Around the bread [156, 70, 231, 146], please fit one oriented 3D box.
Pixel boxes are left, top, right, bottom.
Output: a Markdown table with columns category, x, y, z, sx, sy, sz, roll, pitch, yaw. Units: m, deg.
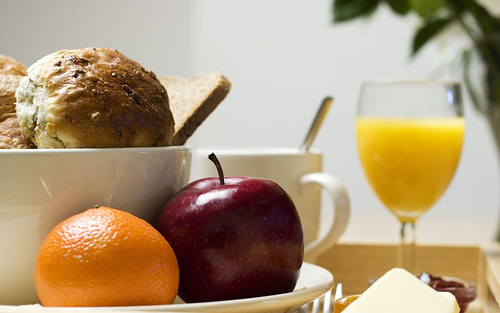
| category | x | y | z | sx | sy | sz | roll | pitch | yaw |
| --- | --- | --- | --- | --- | --- | --- | --- | --- | --- |
| bread | -0.082 | -0.087 | 0.739 | 0.132 | 0.036 | 0.125 | -22 | 36 | 22 |

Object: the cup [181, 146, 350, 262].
| category | x | y | z | sx | sy | sz | roll | pitch | yaw |
| --- | --- | --- | --- | --- | --- | --- | --- | --- | --- |
| cup | 0.026 | 0.075 | 0.838 | 0.297 | 0.199 | 0.211 | 0 | -1 | 9 |

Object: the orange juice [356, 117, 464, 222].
| category | x | y | z | sx | sy | sz | roll | pitch | yaw |
| --- | --- | --- | --- | --- | --- | --- | --- | --- | --- |
| orange juice | 0.232 | 0.005 | 0.677 | 0.121 | 0.173 | 0.111 | 1 | 10 | 17 |

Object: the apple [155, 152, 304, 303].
| category | x | y | z | sx | sy | sz | roll | pitch | yaw |
| --- | --- | --- | --- | --- | --- | --- | --- | --- | --- |
| apple | -0.030 | 0.102 | 0.620 | 0.177 | 0.200 | 0.176 | -1 | -6 | -4 |

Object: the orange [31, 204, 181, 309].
| category | x | y | z | sx | sy | sz | roll | pitch | yaw |
| --- | --- | --- | --- | --- | --- | --- | --- | --- | --- |
| orange | -0.167 | 0.117 | 0.552 | 0.119 | 0.103 | 0.115 | 1 | -9 | -9 |
